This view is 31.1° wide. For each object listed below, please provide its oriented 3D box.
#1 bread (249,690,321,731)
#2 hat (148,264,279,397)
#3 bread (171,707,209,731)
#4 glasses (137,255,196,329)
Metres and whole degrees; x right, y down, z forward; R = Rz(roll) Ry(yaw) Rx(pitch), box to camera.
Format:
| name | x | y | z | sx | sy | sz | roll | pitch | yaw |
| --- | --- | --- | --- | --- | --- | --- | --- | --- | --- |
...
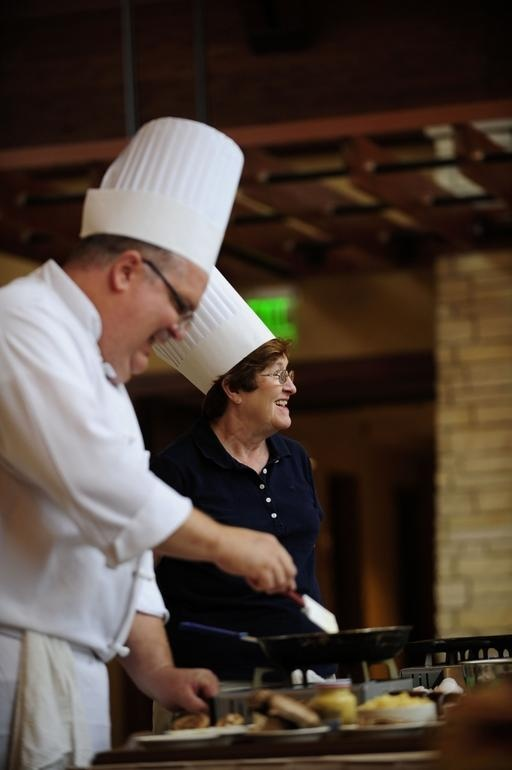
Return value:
| name | x | y | z | sx | sy | sz | roll | pitch | yaw |
| --- | --- | --- | --- | --- | --- | --- | --- | --- | --- |
| bread | 0.046 | 0.455 | 1.294 | 0.066 | 0.020 | 0.049 | 17 | 3 | 37 |
| hat | -0.098 | -0.125 | 1.690 | 0.274 | 0.065 | 0.247 | 27 | 20 | -6 |
| bread | -0.128 | 0.584 | 1.598 | 0.080 | 0.020 | 0.056 | -9 | -7 | 28 |
| glasses | -0.140 | -0.161 | 1.571 | 0.115 | 0.036 | 0.115 | 46 | -7 | 35 |
